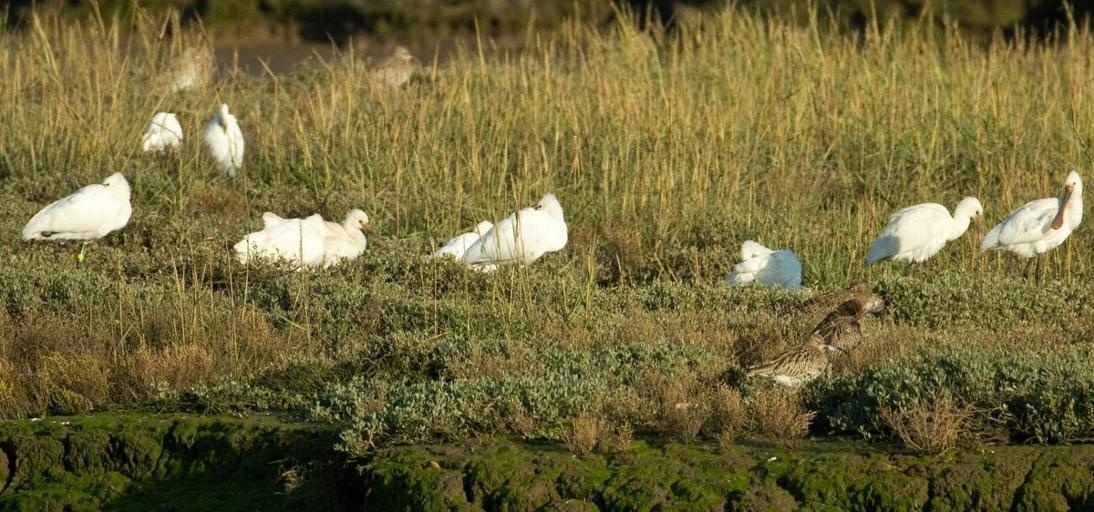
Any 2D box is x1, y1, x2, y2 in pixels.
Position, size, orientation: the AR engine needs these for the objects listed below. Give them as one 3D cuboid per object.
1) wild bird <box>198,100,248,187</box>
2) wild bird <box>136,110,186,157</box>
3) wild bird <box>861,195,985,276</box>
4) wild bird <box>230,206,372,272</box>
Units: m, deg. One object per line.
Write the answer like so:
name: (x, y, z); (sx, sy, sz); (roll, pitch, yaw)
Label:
wild bird: (-6.520, -2.199, 30.230); (0.839, 1.425, 1.058); (-6, 30, -10)
wild bird: (-7.538, -2.399, 30.381); (0.761, 0.676, 0.928); (18, 27, 14)
wild bird: (6.837, -0.406, 27.877); (2.281, 1.209, 1.001); (-3, 20, -6)
wild bird: (-4.344, -0.287, 28.064); (2.525, 0.885, 1.015); (-5, 14, -31)
